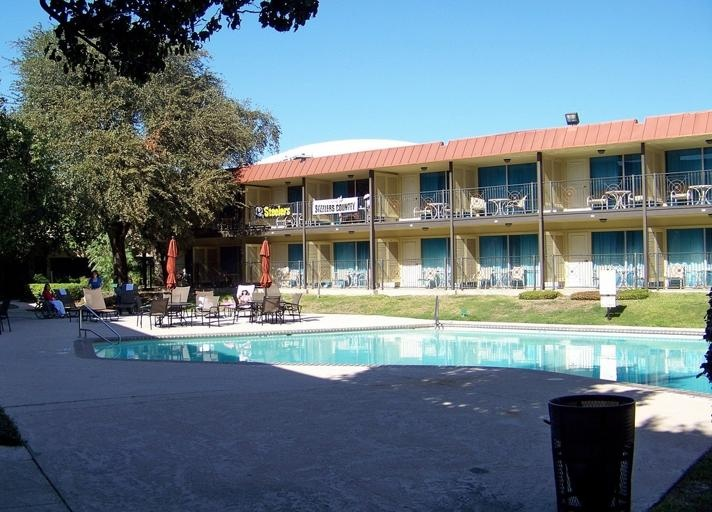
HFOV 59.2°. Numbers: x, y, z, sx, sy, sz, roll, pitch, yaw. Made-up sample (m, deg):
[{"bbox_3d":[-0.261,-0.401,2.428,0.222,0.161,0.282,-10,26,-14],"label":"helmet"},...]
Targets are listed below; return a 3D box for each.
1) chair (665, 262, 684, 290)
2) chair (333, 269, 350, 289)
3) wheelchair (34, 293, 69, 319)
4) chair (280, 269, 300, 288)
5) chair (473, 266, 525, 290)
[{"bbox_3d":[13.617,0.818,26.647,0.668,1.089,1.342,1,0,27],"label":"chair"},{"bbox_3d":[-0.780,1.259,34.825,0.935,0.925,0.900,0,-6,3],"label":"chair"},{"bbox_3d":[-11.949,1.973,24.587,1.408,1.253,0.895,-2,-2,19],"label":"wheelchair"},{"bbox_3d":[-3.770,1.343,35.852,1.275,1.259,0.980,-1,-6,9],"label":"chair"},{"bbox_3d":[6.975,1.040,30.411,2.544,1.068,1.063,0,-1,43],"label":"chair"}]
